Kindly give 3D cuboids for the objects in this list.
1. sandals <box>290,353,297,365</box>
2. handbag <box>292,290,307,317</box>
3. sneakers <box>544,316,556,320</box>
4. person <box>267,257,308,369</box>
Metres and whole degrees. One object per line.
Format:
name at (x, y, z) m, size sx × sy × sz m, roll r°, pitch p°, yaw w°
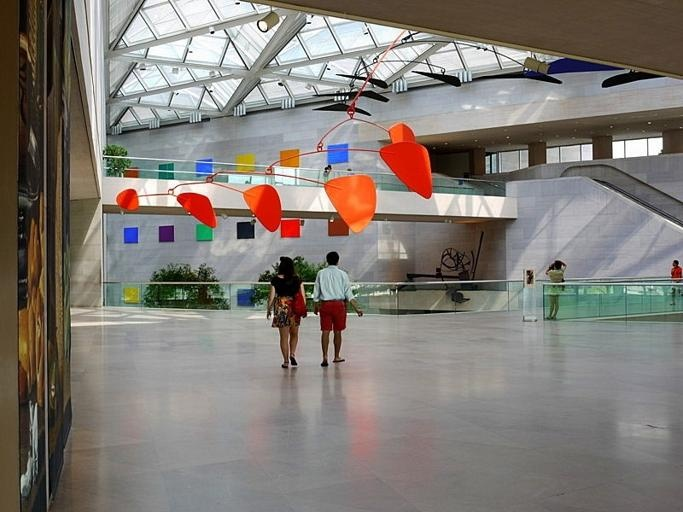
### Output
sandals at (-0.844, 1.815, 9.628) m, size 0.077 × 0.211 × 0.082 m, roll -7°, pitch 8°, yaw 3°
handbag at (-0.739, 0.823, 9.506) m, size 0.236 × 0.469 × 0.490 m, roll -2°, pitch 16°, yaw 6°
sneakers at (6.509, 1.932, 17.012) m, size 0.309 × 0.105 × 0.049 m, roll -1°, pitch -1°, yaw 22°
person at (-0.982, 0.961, 9.774) m, size 0.672 × 1.904 × 0.986 m, roll 0°, pitch -1°, yaw -8°
